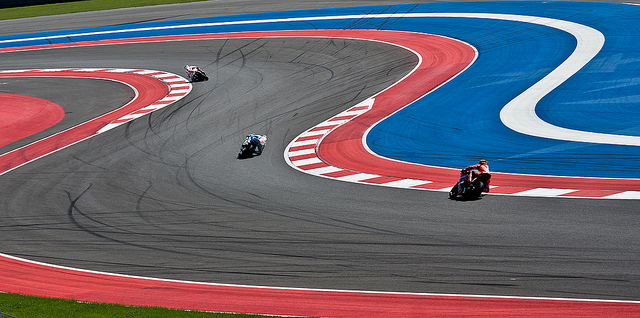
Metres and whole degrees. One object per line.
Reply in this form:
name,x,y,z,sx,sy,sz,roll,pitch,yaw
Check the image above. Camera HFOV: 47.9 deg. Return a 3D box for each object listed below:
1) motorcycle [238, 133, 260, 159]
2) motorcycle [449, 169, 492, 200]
motorcycle,-4.513,-0.642,44.167,0.762,1.535,0.922,28,-35,10
motorcycle,8.129,1.442,39.567,1.623,1.994,1.232,17,-37,16
